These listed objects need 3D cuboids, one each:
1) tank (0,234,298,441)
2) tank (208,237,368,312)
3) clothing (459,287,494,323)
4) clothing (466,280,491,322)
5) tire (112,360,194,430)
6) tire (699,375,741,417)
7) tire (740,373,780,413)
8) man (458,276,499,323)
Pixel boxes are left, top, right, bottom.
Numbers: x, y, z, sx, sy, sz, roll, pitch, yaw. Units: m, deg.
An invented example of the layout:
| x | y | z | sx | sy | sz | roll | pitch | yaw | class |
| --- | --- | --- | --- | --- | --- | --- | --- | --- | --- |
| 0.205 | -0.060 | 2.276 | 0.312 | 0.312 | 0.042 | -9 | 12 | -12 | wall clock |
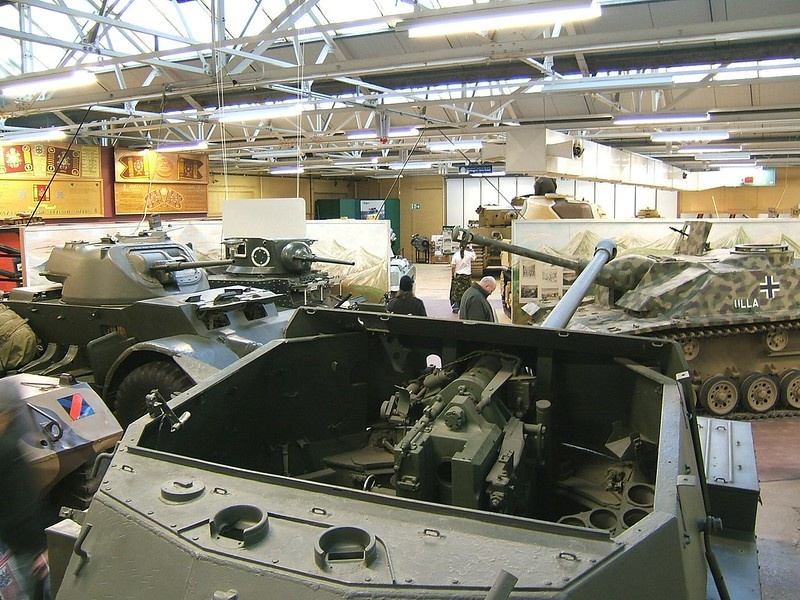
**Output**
| x | y | z | sx | sy | sz | roll | pitch | yaw | class |
| --- | --- | --- | --- | --- | --- | --- | --- | --- | --- |
| -2.922 | 0.167 | 7.325 | 3.407 | 1.880 | 2.002 | 3 | 7 | 29 | tank |
| -1.916 | -0.437 | 9.274 | 1.609 | 0.705 | 1.150 | 2 | 5 | 27 | tank |
| 0.883 | 0.030 | 7.418 | 0.361 | 0.525 | 0.600 | -1 | 6 | 1 | clothing |
| 0.880 | 0.021 | 7.165 | 0.227 | 0.387 | 0.423 | -1 | 6 | 3 | clothing |
| -1.969 | 0.757 | 5.099 | 0.643 | 0.663 | 0.228 | -8 | 6 | 30 | tire |
| 3.922 | 1.199 | 7.841 | 0.367 | 0.376 | 0.153 | -28 | 4 | -8 | tire |
| 4.469 | 1.178 | 7.972 | 0.492 | 0.507 | 0.202 | -9 | 3 | -10 | tire |
| 0.908 | 0.041 | 7.440 | 0.362 | 0.641 | 0.617 | 5 | 16 | 3 | man |
